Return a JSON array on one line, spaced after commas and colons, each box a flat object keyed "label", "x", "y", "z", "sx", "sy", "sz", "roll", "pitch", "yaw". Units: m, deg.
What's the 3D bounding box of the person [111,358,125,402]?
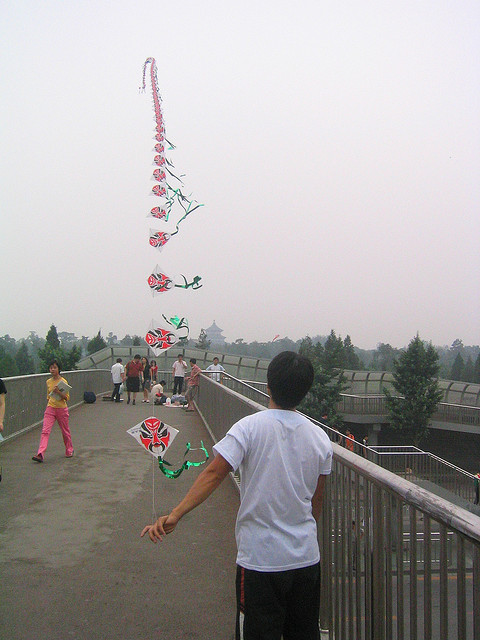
[{"label": "person", "x": -4.923, "y": 2.417, "z": 19.714, "sx": 0.482, "sy": 1.745, "sz": 2.470, "roll": 1, "pitch": -3, "yaw": -14}]

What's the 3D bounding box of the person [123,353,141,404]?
[{"label": "person", "x": -4.128, "y": 2.263, "z": 18.704, "sx": 0.558, "sy": 1.873, "sz": 1.860, "roll": 1, "pitch": -3, "yaw": -14}]

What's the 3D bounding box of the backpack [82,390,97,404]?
[{"label": "backpack", "x": -5.872, "y": 2.933, "z": 18.901, "sx": 0.351, "sy": 0.470, "sz": 0.703, "roll": -5, "pitch": -18, "yaw": 18}]

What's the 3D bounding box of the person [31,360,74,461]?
[{"label": "person", "x": -3.187, "y": 1.561, "z": 8.465, "sx": 0.637, "sy": 1.715, "sz": 1.415, "roll": 1, "pitch": -3, "yaw": -20}]

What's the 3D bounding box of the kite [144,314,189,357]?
[{"label": "kite", "x": -0.927, "y": 0.107, "z": 6.141, "sx": 0.557, "sy": 0.802, "sz": 0.073, "roll": 14, "pitch": 33, "yaw": 11}]

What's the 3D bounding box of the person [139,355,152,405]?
[{"label": "person", "x": -4.074, "y": 2.555, "z": 20.918, "sx": 0.544, "sy": 2.042, "sz": 0.623, "roll": 5, "pitch": 8, "yaw": 26}]

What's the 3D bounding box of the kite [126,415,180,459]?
[{"label": "kite", "x": -0.683, "y": 0.927, "z": 3.928, "sx": 0.397, "sy": 0.129, "sz": 0.623, "roll": 5, "pitch": 28, "yaw": -21}]
